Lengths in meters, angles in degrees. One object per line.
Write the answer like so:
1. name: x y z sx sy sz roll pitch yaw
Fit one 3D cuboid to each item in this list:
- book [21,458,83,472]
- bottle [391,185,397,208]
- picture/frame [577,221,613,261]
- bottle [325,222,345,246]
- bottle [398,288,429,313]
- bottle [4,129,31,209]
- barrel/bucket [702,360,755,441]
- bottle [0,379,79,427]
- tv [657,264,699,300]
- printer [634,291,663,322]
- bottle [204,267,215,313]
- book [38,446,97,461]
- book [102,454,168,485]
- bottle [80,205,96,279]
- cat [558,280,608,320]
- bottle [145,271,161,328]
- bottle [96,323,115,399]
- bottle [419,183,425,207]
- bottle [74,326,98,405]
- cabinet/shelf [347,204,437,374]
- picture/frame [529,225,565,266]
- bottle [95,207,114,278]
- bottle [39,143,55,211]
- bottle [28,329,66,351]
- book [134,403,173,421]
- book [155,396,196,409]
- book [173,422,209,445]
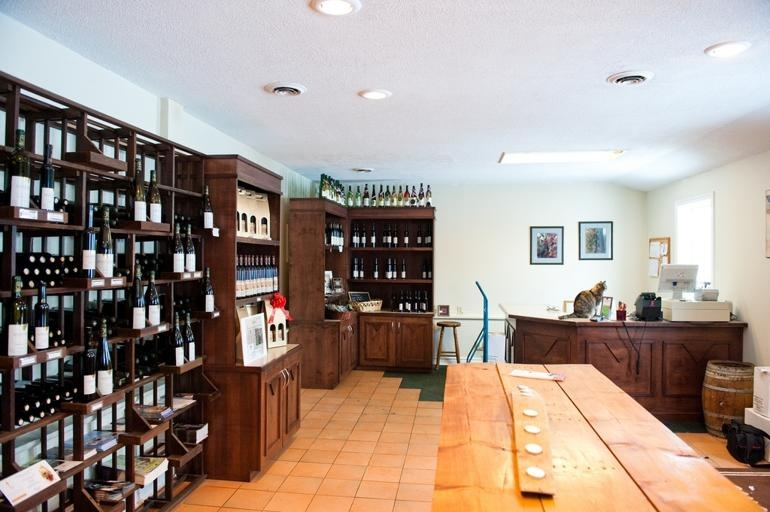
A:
1. book: -2.306 1.469 3.626 0.200 0.041 0.214 1 -5 -1
2. bottle: 0.159 -0.987 8.509 0.121 0.290 0.323 3 11 2
3. picture/frame: 3.537 -0.248 8.573 0.695 0.756 0.042 0 0 2
4. bottle: -0.799 -0.329 8.050 0.179 0.525 0.401 -1 -5 25
5. bottle: 0.485 0.754 8.506 0.383 0.343 0.123 0 -17 2
6. bottle: -2.352 -0.558 3.285 0.133 0.488 0.304 -6 14 -35
7. barrel/bucket: 3.984 1.668 5.925 0.629 0.751 0.613 4 -7 0
8. bottle: -2.399 0.997 3.526 0.336 0.111 0.340 0 0 0
9. tv: 3.684 0.324 6.432 0.523 0.494 0.267 2 2 16
10. printer: 3.251 0.639 6.393 0.303 0.348 0.331 1 1 14
11. bottle: -1.606 0.308 4.689 0.088 0.376 0.216 -2 12 -19
12. book: -2.291 1.438 3.716 0.221 0.043 0.212 -1 -5 -1
13. book: -2.030 1.712 4.218 0.362 0.083 0.373 1 -1 21
14. bottle: -2.119 -0.102 3.661 0.103 0.501 0.300 -3 13 -27
15. cat: 2.482 0.582 6.423 0.770 0.396 0.222 -17 7 -10
16. bottle: -1.876 0.368 4.172 0.139 0.449 0.140 0 9 0
17. bottle: -2.093 0.743 3.805 0.103 0.543 0.219 -3 13 -27
18. bottle: 0.618 -1.027 8.617 0.122 0.343 0.406 3 11 4
19. bottle: -2.181 0.789 3.746 0.129 0.435 0.340 -2 12 -21
20. cabinet/shelf: 0.136 0.517 8.421 1.492 2.464 0.633 -1 6 5
21. picture/frame: 2.762 -0.177 8.670 0.727 0.781 0.029 0 -1 2
22. bottle: -2.077 -0.101 3.785 0.117 0.510 0.324 -4 13 -30
23. bottle: -2.224 -0.512 3.370 0.091 0.428 0.213 -5 14 -33
24. bottle: -2.282 0.551 3.488 0.178 0.172 0.160 1 -1 2
25. book: -1.945 1.321 4.331 0.195 0.045 0.195 3 -1 2
26. book: -1.848 1.288 4.510 0.192 0.043 0.183 3 4 15
27. book: -1.738 1.610 4.646 0.197 0.045 0.196 2 0 20
